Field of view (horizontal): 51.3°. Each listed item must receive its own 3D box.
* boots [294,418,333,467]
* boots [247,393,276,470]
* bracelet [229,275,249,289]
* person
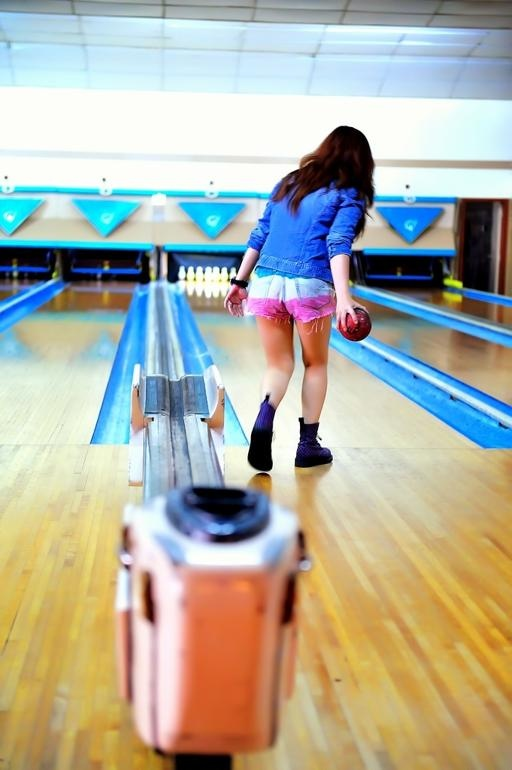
[{"bbox_3d":[0.228,0.217,2.010,0.177,0.173,0.082,-2,4,-33],"label":"boots"},{"bbox_3d":[0.020,0.203,1.801,0.079,0.180,0.246,4,8,0],"label":"boots"},{"bbox_3d":[-0.068,-0.400,2.114,0.063,0.043,0.069,5,-3,27],"label":"bracelet"},{"bbox_3d":[0.174,-0.296,1.879,0.427,1.205,0.283,4,10,11],"label":"person"}]
